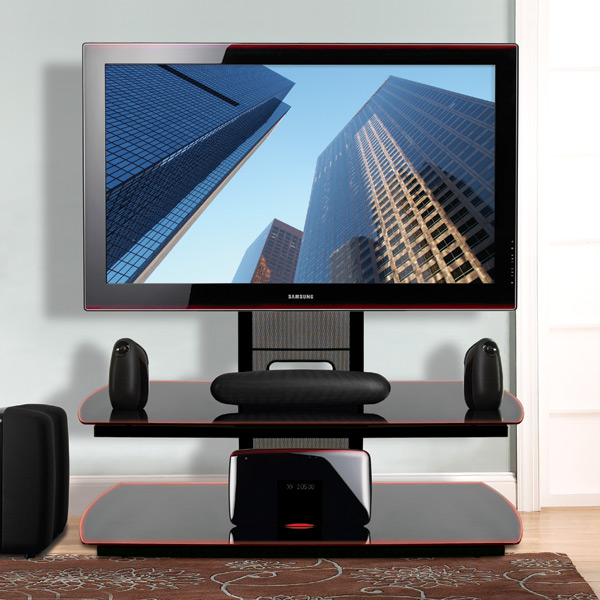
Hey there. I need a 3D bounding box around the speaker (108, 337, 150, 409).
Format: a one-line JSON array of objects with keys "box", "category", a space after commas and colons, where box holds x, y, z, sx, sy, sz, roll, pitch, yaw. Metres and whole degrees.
[{"box": [-0.548, 0.236, 1.919, 0.113, 0.211, 0.113, -1, 6, -9], "category": "speaker"}]

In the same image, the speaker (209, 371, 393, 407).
[{"box": [-0.003, 0.282, 1.888, 0.545, 0.112, 0.156, 0, 6, 0], "category": "speaker"}]

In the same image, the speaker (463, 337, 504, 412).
[{"box": [0.582, 0.248, 1.935, 0.133, 0.248, 0.213, 1, -3, -6], "category": "speaker"}]

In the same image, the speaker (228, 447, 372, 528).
[{"box": [-0.005, 0.605, 1.919, 0.451, 0.236, 0.105, 1, 6, 3], "category": "speaker"}]
